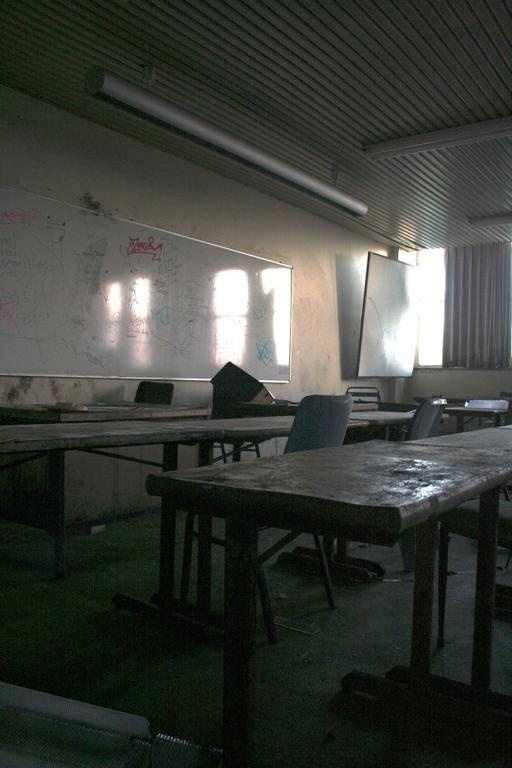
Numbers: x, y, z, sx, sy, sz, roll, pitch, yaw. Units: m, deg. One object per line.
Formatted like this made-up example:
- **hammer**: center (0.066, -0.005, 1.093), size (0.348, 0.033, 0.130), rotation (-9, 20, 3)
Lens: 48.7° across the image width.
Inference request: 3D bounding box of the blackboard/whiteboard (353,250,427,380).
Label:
- **blackboard/whiteboard**: center (1.688, -0.841, 7.232), size (0.125, 1.810, 1.727), rotation (6, -1, 36)
